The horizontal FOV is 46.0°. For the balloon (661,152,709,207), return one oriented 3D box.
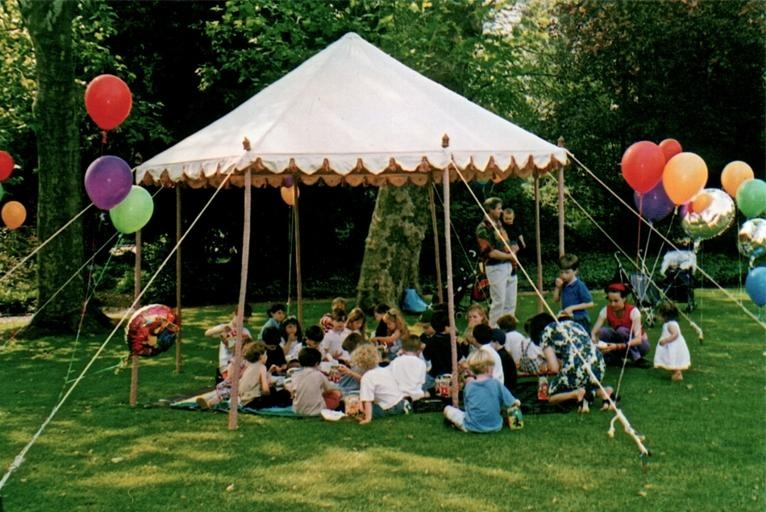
[{"bbox_3d":[5.411,-1.483,16.231,0.774,0.928,0.494,-1,-8,11],"label":"balloon"}]

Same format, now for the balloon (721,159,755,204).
[{"bbox_3d":[7.251,-1.609,18.649,0.674,0.875,0.700,0,-5,5],"label":"balloon"}]

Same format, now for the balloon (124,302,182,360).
[{"bbox_3d":[-3.891,1.215,15.090,0.770,0.877,0.530,6,-10,-33],"label":"balloon"}]

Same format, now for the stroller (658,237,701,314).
[{"bbox_3d":[6.825,0.410,20.731,1.357,1.987,1.352,0,-4,11],"label":"stroller"}]

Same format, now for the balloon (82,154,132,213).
[{"bbox_3d":[-4.624,-1.285,15.129,0.741,0.865,0.323,3,-8,-17],"label":"balloon"}]

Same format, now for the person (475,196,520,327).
[{"bbox_3d":[2.118,0.132,17.783,0.882,2.466,0.850,9,-1,36],"label":"person"}]

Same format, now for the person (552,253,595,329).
[{"bbox_3d":[3.470,0.664,16.455,0.692,1.436,0.971,1,0,-1],"label":"person"}]

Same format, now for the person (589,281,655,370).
[{"bbox_3d":[4.427,1.351,17.128,0.939,1.741,1.391,1,-4,-14],"label":"person"}]

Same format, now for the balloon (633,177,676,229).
[{"bbox_3d":[5.469,-1.084,18.139,0.864,1.095,0.883,1,-1,-12],"label":"balloon"}]

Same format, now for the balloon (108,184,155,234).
[{"bbox_3d":[-4.336,-0.809,15.765,0.772,0.947,0.768,26,3,-24],"label":"balloon"}]

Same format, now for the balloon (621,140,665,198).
[{"bbox_3d":[4.701,-1.572,16.285,0.594,1.026,0.750,1,33,2],"label":"balloon"}]
